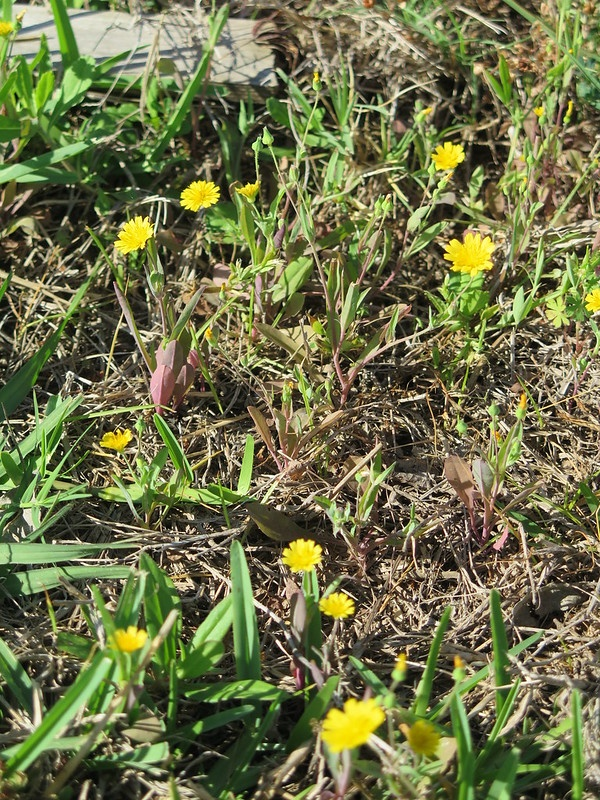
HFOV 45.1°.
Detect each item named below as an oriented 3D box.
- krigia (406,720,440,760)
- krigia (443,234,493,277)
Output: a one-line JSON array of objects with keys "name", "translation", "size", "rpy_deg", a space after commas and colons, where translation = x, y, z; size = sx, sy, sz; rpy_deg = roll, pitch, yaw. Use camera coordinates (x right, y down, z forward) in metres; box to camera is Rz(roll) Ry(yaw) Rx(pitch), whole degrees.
[{"name": "krigia", "translation": [0.137, 0.379, 0.812], "size": [0.035, 0.046, 0.038], "rpy_deg": [-1, 48, -1]}, {"name": "krigia", "translation": [0.310, -0.267, 1.330], "size": [0.078, 0.082, 0.118], "rpy_deg": [9, 47, 9]}]
